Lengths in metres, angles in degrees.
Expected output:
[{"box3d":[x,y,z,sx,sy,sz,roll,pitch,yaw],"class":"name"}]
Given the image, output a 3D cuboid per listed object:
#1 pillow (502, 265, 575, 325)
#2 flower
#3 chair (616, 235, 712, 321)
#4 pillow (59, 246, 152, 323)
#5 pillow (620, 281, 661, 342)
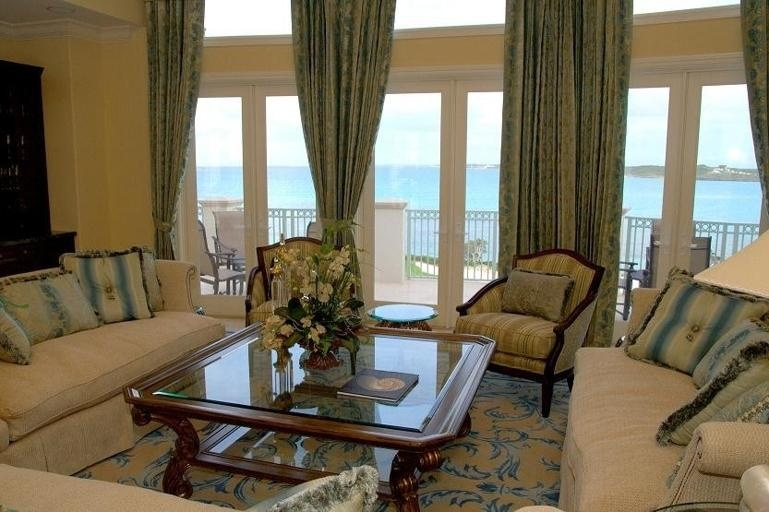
[{"box3d":[1.340,0.351,4.975,0.455,0.339,0.171,5,-32,37],"class":"pillow"},{"box3d":[-0.547,0.356,4.366,0.784,1.079,0.941,1,-2,-10],"class":"flower"},{"box3d":[2.874,0.191,6.239,0.840,1.294,0.776,-1,5,-42],"class":"chair"},{"box3d":[-2.267,0.241,4.847,0.647,0.618,0.197,-9,-9,-35],"class":"pillow"},{"box3d":[1.972,0.416,4.456,0.168,0.369,0.368,11,-1,23],"class":"pillow"}]
